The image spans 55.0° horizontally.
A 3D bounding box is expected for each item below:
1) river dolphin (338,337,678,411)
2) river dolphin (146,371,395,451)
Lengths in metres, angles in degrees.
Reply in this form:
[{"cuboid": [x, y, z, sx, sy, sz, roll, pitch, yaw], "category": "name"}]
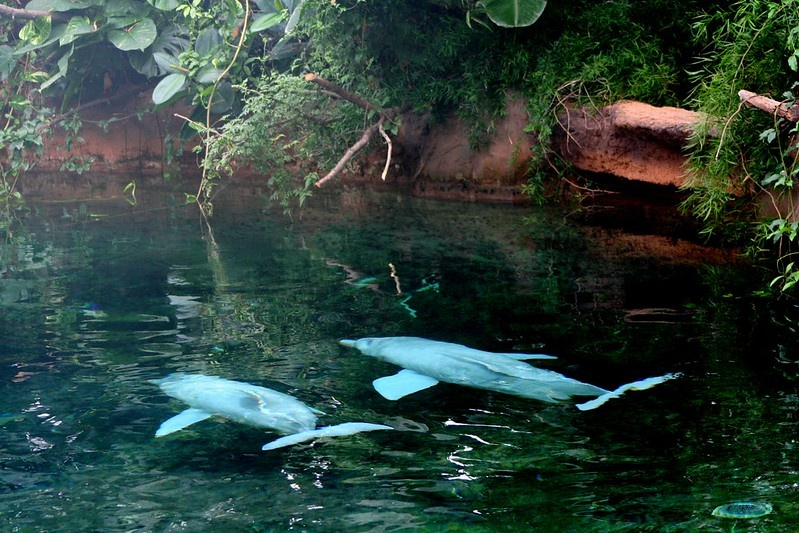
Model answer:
[{"cuboid": [0.494, 0.661, 4.718, 1.387, 0.129, 0.643, 8, 12, 34], "category": "river dolphin"}, {"cuboid": [-0.894, 0.845, 4.463, 0.950, 0.113, 0.539, 11, 10, 39], "category": "river dolphin"}]
